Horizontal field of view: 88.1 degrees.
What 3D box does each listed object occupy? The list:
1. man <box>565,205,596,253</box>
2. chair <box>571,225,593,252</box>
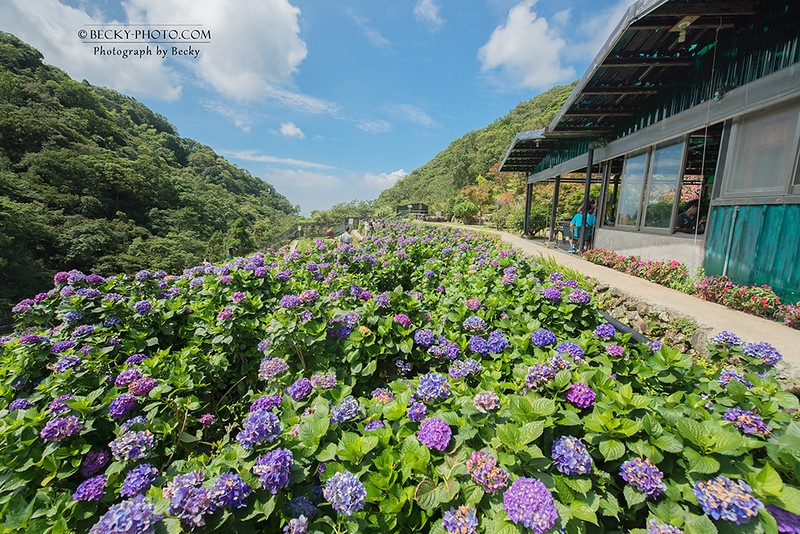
[{"bbox_3d":[4.965,-1.064,11.243,0.680,1.561,0.576,-1,35,13],"label":"man"},{"bbox_3d":[4.842,-0.764,10.979,0.408,0.349,1.103,32,13,29],"label":"chair"}]
